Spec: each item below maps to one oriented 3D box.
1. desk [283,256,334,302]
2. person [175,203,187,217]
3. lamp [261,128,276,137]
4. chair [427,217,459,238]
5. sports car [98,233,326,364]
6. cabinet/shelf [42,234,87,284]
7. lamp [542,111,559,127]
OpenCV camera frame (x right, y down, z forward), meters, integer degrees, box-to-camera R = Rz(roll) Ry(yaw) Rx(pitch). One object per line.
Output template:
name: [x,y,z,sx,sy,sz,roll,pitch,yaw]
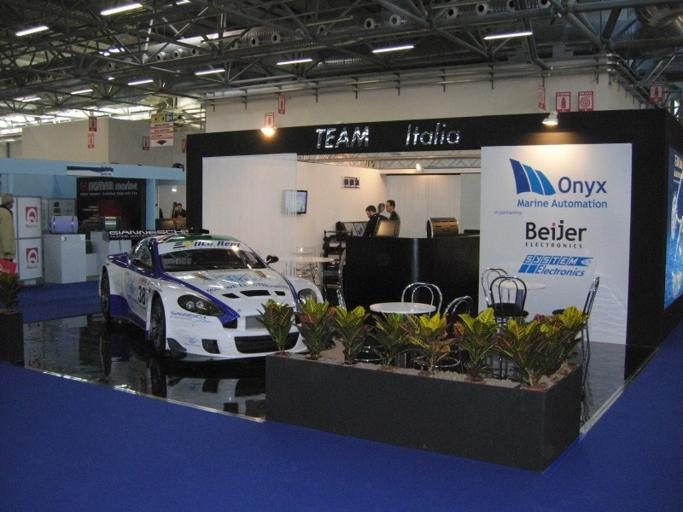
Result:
desk: [-0.793,0.308,12.692,0.879,0.617,0.893,-8,11,-43]
person: [-5.708,-1.611,20.158,0.383,0.461,0.820,-2,7,-18]
lamp: [-1.316,-2.215,10.292,0.202,0.204,0.050,12,34,21]
chair: [1.822,-0.527,10.636,0.517,0.380,0.416,-2,1,-18]
sports car: [-1.939,0.427,7.272,1.392,0.931,2.706,0,5,-31]
cabinet/shelf: [-6.489,0.059,13.289,0.920,1.738,0.883,-2,8,-34]
lamp: [2.949,-1.922,8.118,0.197,0.240,0.218,4,10,6]
